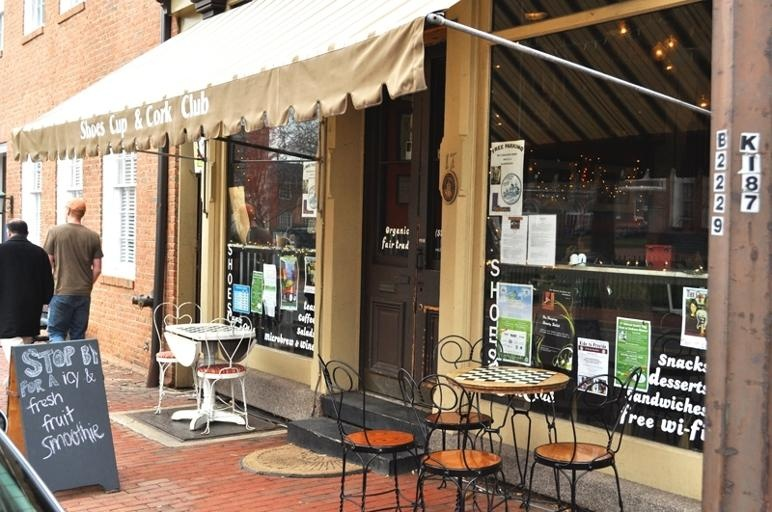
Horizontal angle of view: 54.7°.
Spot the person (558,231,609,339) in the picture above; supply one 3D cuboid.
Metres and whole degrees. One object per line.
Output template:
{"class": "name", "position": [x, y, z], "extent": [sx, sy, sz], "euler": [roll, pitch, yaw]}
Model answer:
{"class": "person", "position": [1.807, 0.371, 6.864], "extent": [0.404, 1.179, 0.116], "euler": [0, 25, 9]}

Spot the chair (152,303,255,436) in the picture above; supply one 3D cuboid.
{"class": "chair", "position": [-2.321, 1.397, 9.995], "extent": [0.952, 1.771, 2.137], "euler": [0, 4, -33]}

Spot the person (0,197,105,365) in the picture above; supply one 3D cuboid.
{"class": "person", "position": [-4.240, 0.176, 10.116], "extent": [0.709, 1.882, 0.387], "euler": [-3, 5, -27]}
